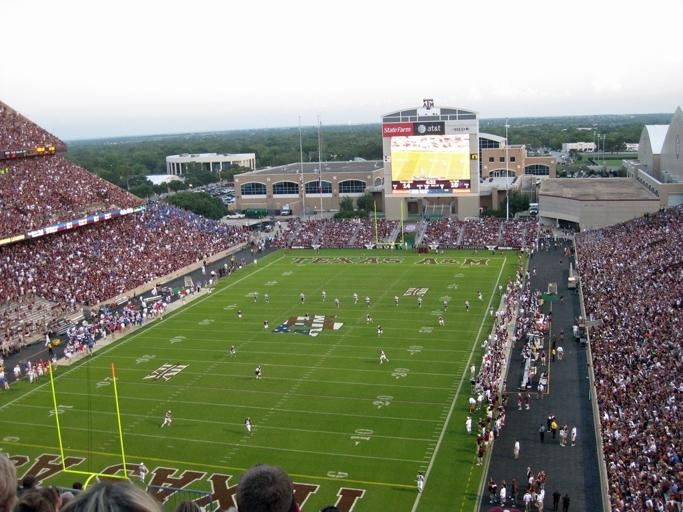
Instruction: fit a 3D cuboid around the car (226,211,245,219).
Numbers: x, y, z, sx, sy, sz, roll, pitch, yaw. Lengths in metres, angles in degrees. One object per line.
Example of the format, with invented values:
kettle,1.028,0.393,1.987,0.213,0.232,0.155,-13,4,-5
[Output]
car,-13.383,-5.038,78.714,1.635,0.715,1.069,8,13,5
